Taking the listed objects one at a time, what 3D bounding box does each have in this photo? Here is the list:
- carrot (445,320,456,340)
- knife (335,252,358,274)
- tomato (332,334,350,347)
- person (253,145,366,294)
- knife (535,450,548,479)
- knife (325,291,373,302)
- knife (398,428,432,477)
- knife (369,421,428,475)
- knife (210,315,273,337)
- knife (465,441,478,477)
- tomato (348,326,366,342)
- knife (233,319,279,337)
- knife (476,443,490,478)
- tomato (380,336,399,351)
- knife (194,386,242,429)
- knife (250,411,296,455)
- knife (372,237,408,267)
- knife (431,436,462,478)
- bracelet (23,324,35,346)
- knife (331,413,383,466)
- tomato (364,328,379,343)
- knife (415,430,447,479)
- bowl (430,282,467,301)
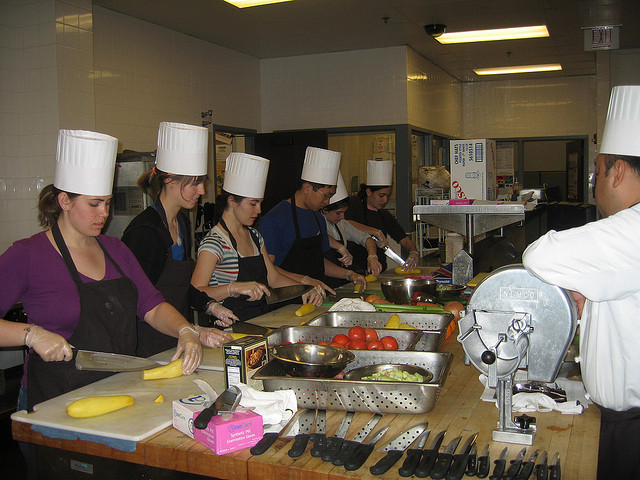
[{"bbox_3d":[0.651,0.448,2.539,0.019,0.079,0.080,21,3,31],"label":"carrot"},{"bbox_3d":[0.236,0.201,4.677,0.070,0.192,0.140,-38,26,22],"label":"knife"},{"bbox_3d":[0.091,0.436,2.210,0.041,0.045,0.046,1,6,10],"label":"tomato"},{"bbox_3d":[-0.045,-0.061,3.854,0.761,1.276,0.865,5,10,36],"label":"person"},{"bbox_3d":[0.599,0.617,1.376,0.021,0.017,0.139,-1,18,17],"label":"knife"},{"bbox_3d":[0.177,0.372,3.362,0.181,0.051,0.106,2,-1,-2],"label":"knife"},{"bbox_3d":[0.269,0.615,1.471,0.036,0.021,0.182,-1,8,21],"label":"knife"},{"bbox_3d":[0.226,0.593,1.490,0.061,0.020,0.240,1,9,30],"label":"knife"},{"bbox_3d":[-0.359,0.421,2.451,0.301,0.084,0.033,12,7,39],"label":"knife"},{"bbox_3d":[0.436,0.621,1.450,0.021,0.014,0.129,-5,14,18],"label":"knife"},{"bbox_3d":[0.167,0.420,2.270,0.061,0.061,0.060,4,-16,-40],"label":"tomato"},{"bbox_3d":[-0.318,0.424,2.418,0.256,0.083,0.027,5,-4,36],"label":"knife"},{"bbox_3d":[0.469,0.618,1.435,0.024,0.016,0.138,-7,13,19],"label":"knife"},{"bbox_3d":[0.307,0.452,2.234,0.053,0.055,0.054,-17,-44,11],"label":"tomato"},{"bbox_3d":[-0.308,0.499,1.539,0.072,0.027,0.155,10,37,33],"label":"knife"},{"bbox_3d":[-0.160,0.585,1.598,0.049,0.020,0.243,28,10,27],"label":"knife"},{"bbox_3d":[0.580,0.106,4.269,0.071,0.034,0.431,34,5,-29],"label":"knife"},{"bbox_3d":[0.357,0.600,1.456,0.034,0.022,0.197,-6,13,24],"label":"knife"},{"bbox_3d":[-1.085,0.358,1.919,0.052,0.055,0.014,-19,-15,34],"label":"bracelet"},{"bbox_3d":[0.117,0.590,1.558,0.048,0.018,0.305,-5,4,19],"label":"knife"},{"bbox_3d":[0.236,0.443,2.328,0.051,0.064,0.053,3,-37,-4],"label":"tomato"},{"bbox_3d":[0.316,0.616,1.456,0.035,0.021,0.182,2,9,21],"label":"knife"},{"bbox_3d":[0.778,0.325,3.172,0.156,0.061,0.163,-2,4,0],"label":"bowl"}]
